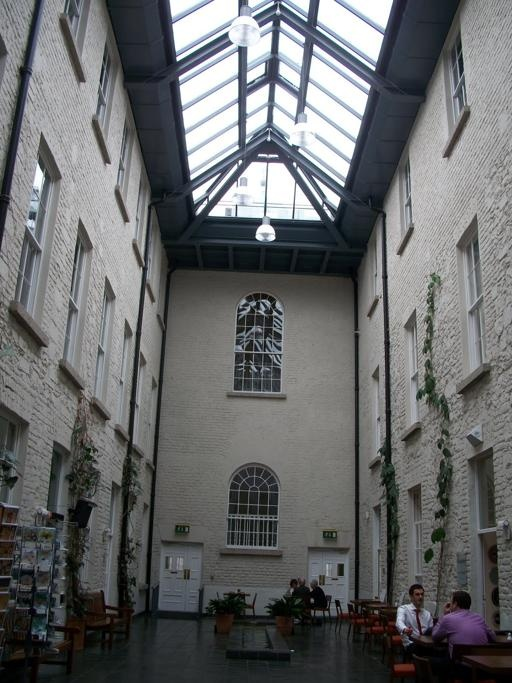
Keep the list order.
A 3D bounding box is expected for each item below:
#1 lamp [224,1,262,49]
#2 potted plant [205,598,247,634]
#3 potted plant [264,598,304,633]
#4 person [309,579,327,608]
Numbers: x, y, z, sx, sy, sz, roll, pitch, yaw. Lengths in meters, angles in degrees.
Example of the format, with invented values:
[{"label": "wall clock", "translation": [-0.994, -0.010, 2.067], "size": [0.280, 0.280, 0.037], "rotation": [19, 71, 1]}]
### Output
[{"label": "lamp", "translation": [-0.174, -5.023, 7.828], "size": [0.412, 0.807, 0.412], "rotation": [-6, -23, 18]}, {"label": "potted plant", "translation": [-0.666, 5.948, 10.918], "size": [0.737, 0.771, 0.997], "rotation": [3, -24, -3]}, {"label": "potted plant", "translation": [0.661, 6.033, 10.944], "size": [0.703, 0.776, 0.837], "rotation": [-1, -24, 6]}, {"label": "person", "translation": [1.678, 6.900, 13.564], "size": [0.438, 0.707, 0.783], "rotation": [0, -24, 5]}]
